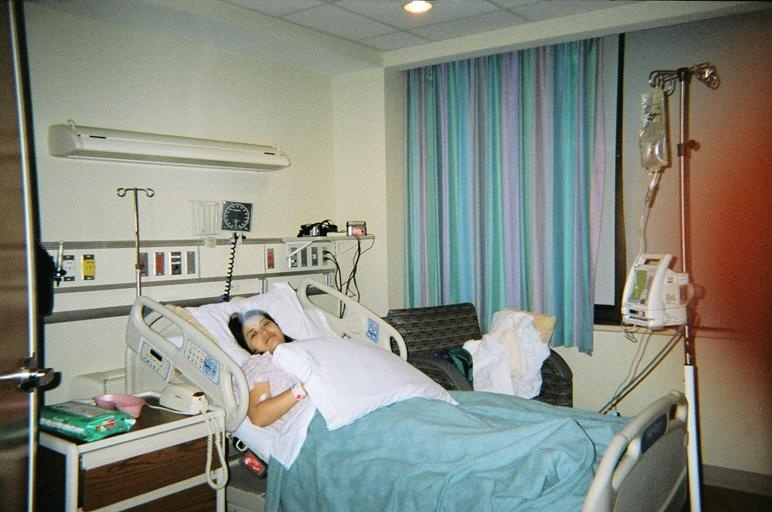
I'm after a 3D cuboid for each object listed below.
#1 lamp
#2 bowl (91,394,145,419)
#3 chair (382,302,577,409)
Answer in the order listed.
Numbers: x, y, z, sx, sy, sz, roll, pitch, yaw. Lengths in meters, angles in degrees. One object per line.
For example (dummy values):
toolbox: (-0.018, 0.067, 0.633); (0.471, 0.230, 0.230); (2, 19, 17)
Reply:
lamp: (-1.436, -0.584, 3.611); (1.255, 0.277, 0.245); (-1, -29, -46)
bowl: (-1.353, 0.753, 2.840); (0.185, 0.066, 0.136); (6, 1, 17)
chair: (0.359, 0.711, 3.965); (0.884, 0.684, 0.655); (-4, -5, 3)
